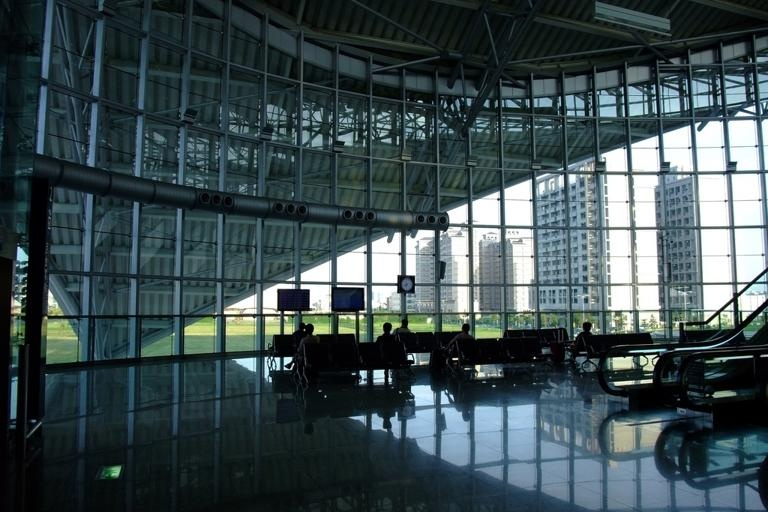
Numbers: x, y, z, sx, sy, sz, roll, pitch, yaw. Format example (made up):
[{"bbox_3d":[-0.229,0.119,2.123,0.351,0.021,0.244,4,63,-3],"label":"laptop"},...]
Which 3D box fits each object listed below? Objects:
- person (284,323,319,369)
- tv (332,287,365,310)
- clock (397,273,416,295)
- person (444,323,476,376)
[{"bbox_3d":[-2.205,2.464,18.966,0.919,1.429,0.603,19,21,32],"label":"person"},{"bbox_3d":[-1.237,1.469,23.501,1.122,0.808,0.224,0,-3,-16],"label":"tv"},{"bbox_3d":[0.761,1.030,24.969,0.797,0.699,0.247,3,-6,-18],"label":"clock"},{"bbox_3d":[2.146,2.552,20.117,0.897,1.265,0.825,5,3,-7],"label":"person"}]
